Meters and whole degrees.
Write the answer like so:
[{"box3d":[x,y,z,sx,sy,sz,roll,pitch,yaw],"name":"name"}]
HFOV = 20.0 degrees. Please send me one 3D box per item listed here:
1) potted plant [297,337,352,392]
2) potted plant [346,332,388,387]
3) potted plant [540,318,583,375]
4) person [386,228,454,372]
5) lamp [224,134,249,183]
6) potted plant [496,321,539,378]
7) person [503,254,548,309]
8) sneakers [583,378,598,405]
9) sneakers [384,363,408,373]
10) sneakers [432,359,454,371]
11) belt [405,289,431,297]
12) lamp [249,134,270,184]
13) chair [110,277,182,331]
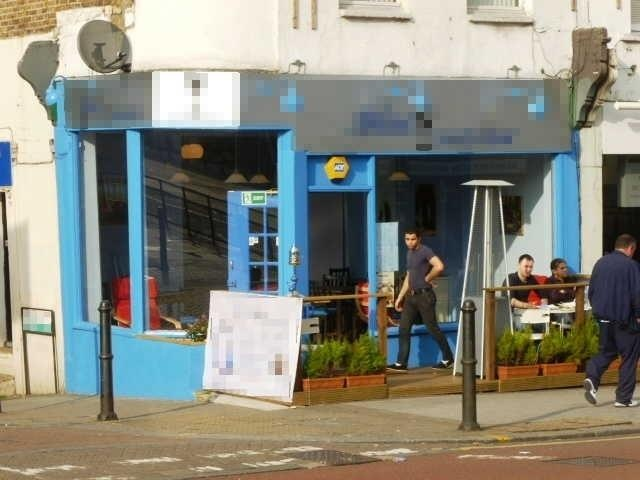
[{"box3d":[0.073,1.704,25.842,0.714,0.542,0.251,1,-2,-40],"name":"potted plant"},{"box3d":[0.652,1.738,26.066,0.670,0.485,0.683,-2,8,-4],"name":"potted plant"},{"box3d":[3.459,1.623,26.720,0.682,0.767,0.513,-8,15,-8],"name":"potted plant"},{"box3d":[1.489,0.924,27.117,0.821,2.070,0.598,0,-2,19],"name":"person"},{"box3d":[-1.253,-1.184,27.175,0.264,0.735,0.070,0,-2,-3],"name":"lamp"},{"box3d":[2.878,1.666,26.421,0.644,0.736,0.271,0,-2,-6],"name":"potted plant"},{"box3d":[3.029,0.658,26.972,0.671,0.787,0.529,0,4,-24],"name":"person"},{"box3d":[3.774,2.120,25.189,0.144,0.376,0.180,-20,-11,24],"name":"sneakers"},{"box3d":[1.117,1.922,26.996,0.345,0.138,0.123,4,-3,1],"name":"sneakers"},{"box3d":[1.834,1.882,27.303,0.330,0.121,0.126,0,2,12],"name":"sneakers"},{"box3d":[1.465,0.788,27.019,0.378,0.114,0.110,0,-2,20],"name":"belt"},{"box3d":[-0.906,-1.176,27.205,0.349,0.756,0.091,1,-2,-14],"name":"lamp"},{"box3d":[-2.680,1.035,27.160,0.930,0.968,1.198,-2,-6,-11],"name":"chair"}]
